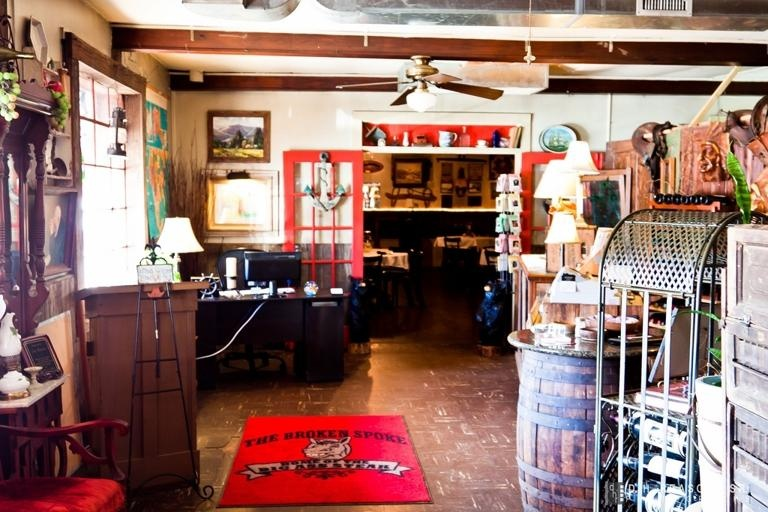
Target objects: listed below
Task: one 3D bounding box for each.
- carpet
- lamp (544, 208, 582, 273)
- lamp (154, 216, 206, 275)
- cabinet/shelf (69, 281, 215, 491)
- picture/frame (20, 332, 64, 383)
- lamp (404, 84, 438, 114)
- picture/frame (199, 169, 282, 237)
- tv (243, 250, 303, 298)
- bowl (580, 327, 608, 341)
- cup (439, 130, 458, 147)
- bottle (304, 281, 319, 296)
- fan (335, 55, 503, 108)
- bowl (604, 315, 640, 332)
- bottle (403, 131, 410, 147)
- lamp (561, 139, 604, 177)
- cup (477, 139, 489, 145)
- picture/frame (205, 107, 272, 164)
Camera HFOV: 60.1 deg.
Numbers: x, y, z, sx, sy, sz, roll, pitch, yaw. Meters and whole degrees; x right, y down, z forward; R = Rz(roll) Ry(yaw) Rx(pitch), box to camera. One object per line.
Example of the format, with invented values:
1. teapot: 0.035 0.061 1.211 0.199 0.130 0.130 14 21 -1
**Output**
1. carpet: -0.501 1.763 5.843 1.655 0.111 1.484 0 10 -2
2. lamp: 2.029 -0.164 7.464 0.321 0.525 0.339 -19 12 -40
3. lamp: -2.172 -0.210 6.975 0.413 0.367 0.281 -1 9 -10
4. cabinet/shelf: -2.162 1.033 5.591 1.173 1.644 1.025 -8 -7 -14
5. picture/frame: -2.426 0.720 4.661 0.227 0.276 0.206 7 11 34
6. lamp: 0.341 -1.469 6.350 0.294 0.264 0.294 0 -4 3
7. picture/frame: -2.018 -0.731 8.939 0.923 0.800 0.100 0 1 -6
8. tv: -1.307 0.112 7.705 0.763 0.547 0.415 0 4 -6
9. bowl: 1.516 0.579 4.860 0.164 0.055 0.164 -1 -3 0
10. cup: 0.879 -1.613 9.169 0.267 0.207 0.197 2 -2 -25
11. bottle: -0.835 0.386 7.684 0.142 0.164 0.165 13 -2 -21
12. fan: 0.339 -1.696 6.625 1.074 0.360 1.074 -4 9 -28
13. bowl: 1.807 0.509 5.028 0.208 0.088 0.208 -1 -2 0
14. bottle: 0.297 -1.623 9.187 0.085 0.205 0.158 8 12 38
15. lamp: 2.119 -1.034 7.032 0.390 0.329 0.376 -2 4 16
16. cup: 1.374 -1.575 9.242 0.162 0.094 0.081 -1 9 -11
17. picture/frame: -2.028 -1.644 8.934 0.766 0.664 0.059 0 -2 -10
